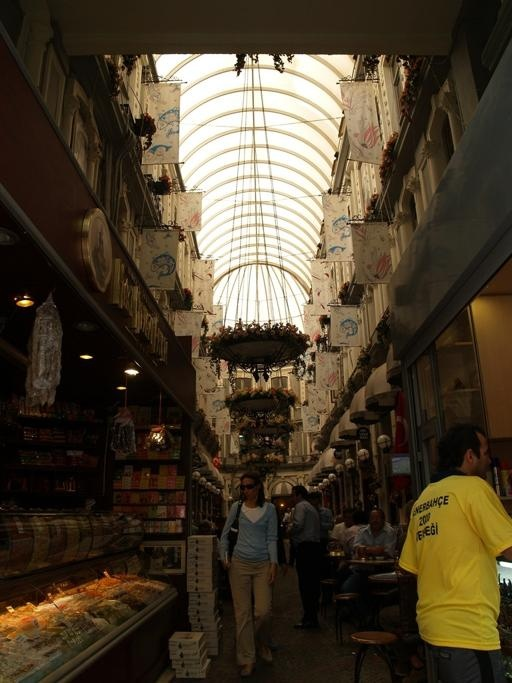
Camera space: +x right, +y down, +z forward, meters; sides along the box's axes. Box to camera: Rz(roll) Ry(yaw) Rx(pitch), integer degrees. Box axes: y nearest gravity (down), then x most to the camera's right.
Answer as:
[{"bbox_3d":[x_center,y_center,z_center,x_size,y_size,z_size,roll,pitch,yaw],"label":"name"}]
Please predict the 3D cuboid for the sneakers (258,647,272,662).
[{"bbox_3d":[0.097,2.947,4.610,0.063,0.099,0.210,-7,-27,18],"label":"sneakers"}]
